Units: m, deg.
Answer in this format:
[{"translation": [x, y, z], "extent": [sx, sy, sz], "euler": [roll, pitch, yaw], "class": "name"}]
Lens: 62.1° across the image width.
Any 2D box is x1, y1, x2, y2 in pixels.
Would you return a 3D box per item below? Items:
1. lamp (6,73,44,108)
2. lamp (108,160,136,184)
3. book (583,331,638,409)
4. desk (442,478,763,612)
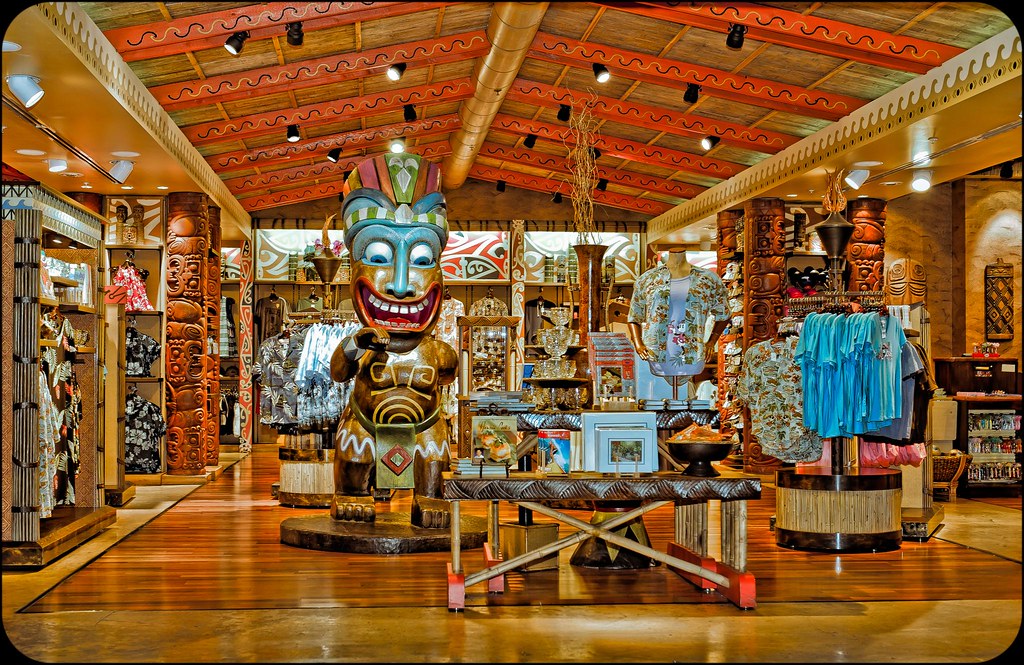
[{"translation": [-3.702, -1.822, 6.471], "extent": [0.234, 0.208, 0.248], "euler": [-1, 3, -31], "class": "lamp"}, {"translation": [-3.904, -1.604, 8.504], "extent": [0.143, 0.145, 0.141], "euler": [35, -7, 9], "class": "lamp"}, {"translation": [0.701, 0.267, 5.939], "extent": [0.331, 0.505, 0.664], "euler": [1, 2, 6], "class": "book"}, {"translation": [0.576, 1.283, 5.757], "extent": [1.941, 0.830, 1.115], "euler": [0, 2, -1], "class": "desk"}]
